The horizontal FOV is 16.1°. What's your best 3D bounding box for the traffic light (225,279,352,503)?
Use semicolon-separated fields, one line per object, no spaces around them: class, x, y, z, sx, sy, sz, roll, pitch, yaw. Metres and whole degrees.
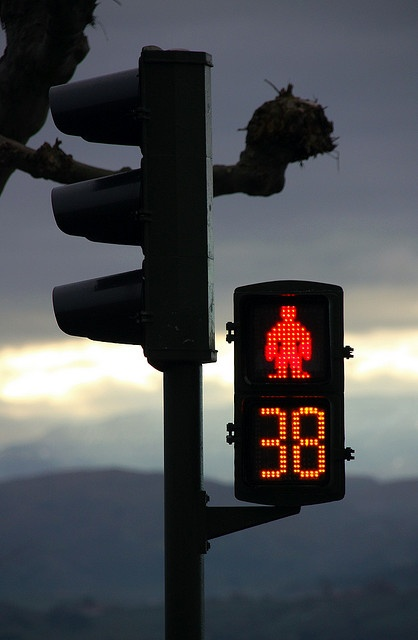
traffic light;0.385;0.387;7.269;0.608;1.210;0.294;0;-30;2
